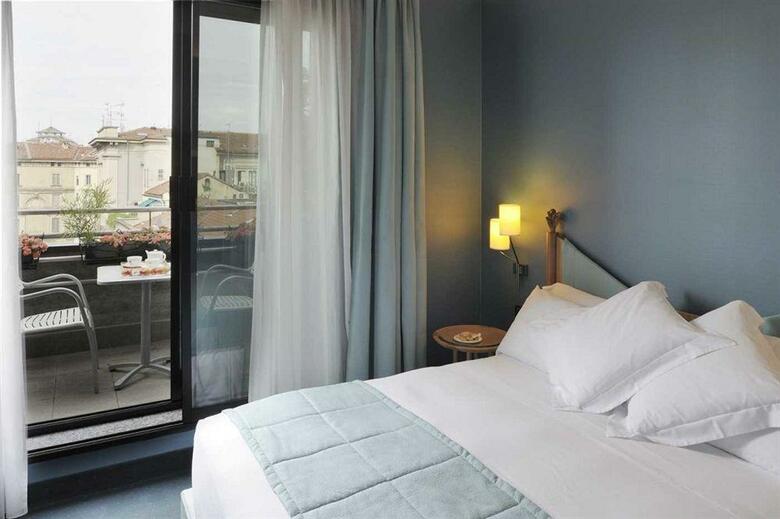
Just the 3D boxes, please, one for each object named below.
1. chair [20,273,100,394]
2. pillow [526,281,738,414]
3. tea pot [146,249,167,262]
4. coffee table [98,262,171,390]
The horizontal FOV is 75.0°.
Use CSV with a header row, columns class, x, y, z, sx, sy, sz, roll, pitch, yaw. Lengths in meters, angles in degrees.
class,x,y,z,sx,sy,sz,roll,pitch,yaw
chair,-2.667,0.545,4.117,0.477,0.894,0.935,-10,15,-33
pillow,1.234,0.491,2.758,0.700,0.168,0.720,-34,35,10
tea pot,-2.023,-0.026,4.396,0.145,0.101,0.098,1,-7,5
coffee table,-2.023,0.521,4.558,0.949,0.970,0.891,-1,0,-18
